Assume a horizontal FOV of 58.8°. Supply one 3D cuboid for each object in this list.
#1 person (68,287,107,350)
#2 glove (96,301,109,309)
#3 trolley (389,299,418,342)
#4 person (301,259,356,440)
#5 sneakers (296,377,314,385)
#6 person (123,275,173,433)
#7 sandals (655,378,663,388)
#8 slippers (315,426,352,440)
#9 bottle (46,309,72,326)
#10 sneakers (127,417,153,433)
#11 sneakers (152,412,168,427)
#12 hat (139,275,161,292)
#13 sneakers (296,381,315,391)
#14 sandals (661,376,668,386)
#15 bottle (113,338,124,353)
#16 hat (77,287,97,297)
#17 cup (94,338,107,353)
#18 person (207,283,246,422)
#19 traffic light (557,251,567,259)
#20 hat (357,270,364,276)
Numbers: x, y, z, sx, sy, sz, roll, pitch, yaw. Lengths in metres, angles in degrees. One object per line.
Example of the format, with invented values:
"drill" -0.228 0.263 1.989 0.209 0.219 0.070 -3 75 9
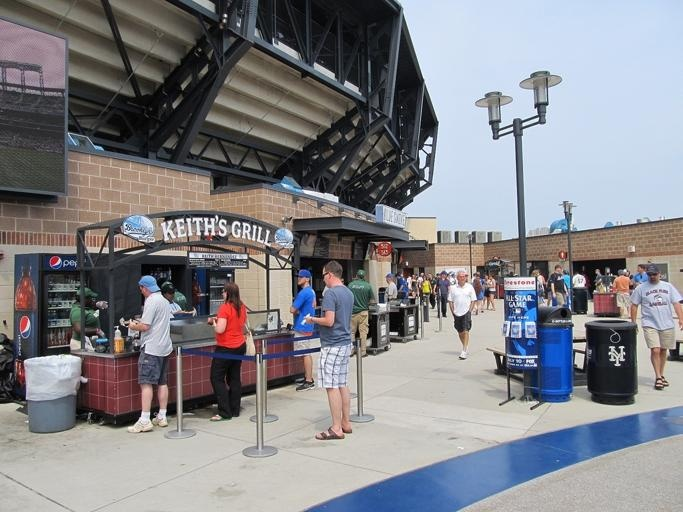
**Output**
"person" -4.801 1.117 11.498 0.638 1.135 2.150 -2 4 -22
"glove" -4.494 0.934 11.317 0.275 0.158 0.221 0 -2 43
"trolley" 1.732 2.048 18.599 0.974 0.964 0.825 -2 0 38
"person" -0.141 1.439 9.467 0.595 2.696 0.678 -1 3 1
"sneakers" -0.779 2.596 12.490 0.380 0.162 0.142 2 -9 4
"person" -3.161 1.584 9.916 0.757 2.457 0.500 -4 4 -39
"sandals" 5.985 2.408 11.391 0.177 0.182 0.103 0 3 13
"slippers" -0.176 2.726 9.306 0.369 0.129 0.219 2 -8 -5
"bottle" -5.854 1.288 12.490 0.139 0.382 0.405 -4 -5 24
"sneakers" -3.206 2.723 9.697 0.432 0.221 0.182 1 -9 -3
"sneakers" -2.999 2.713 10.037 0.349 0.157 0.138 7 2 40
"hat" -3.264 0.463 10.107 0.344 0.128 0.229 26 21 30
"sneakers" -0.747 2.647 12.173 0.398 0.165 0.145 7 -12 -37
"sandals" 6.171 2.408 11.623 0.135 0.153 0.406 -5 -8 39
"bottle" -3.667 1.460 9.936 0.143 0.244 0.138 -1 3 0
"hat" -4.877 0.706 11.598 0.240 0.147 0.368 9 1 44
"cup" -4.030 1.512 10.103 0.204 0.216 0.218 0 -7 0
"person" -1.914 1.625 10.383 0.766 2.298 0.510 -4 5 -44
"traffic light" 14.929 -0.027 41.104 0.472 0.500 0.459 1 16 5
"hat" 0.459 0.437 14.919 0.163 0.123 0.270 6 3 4
